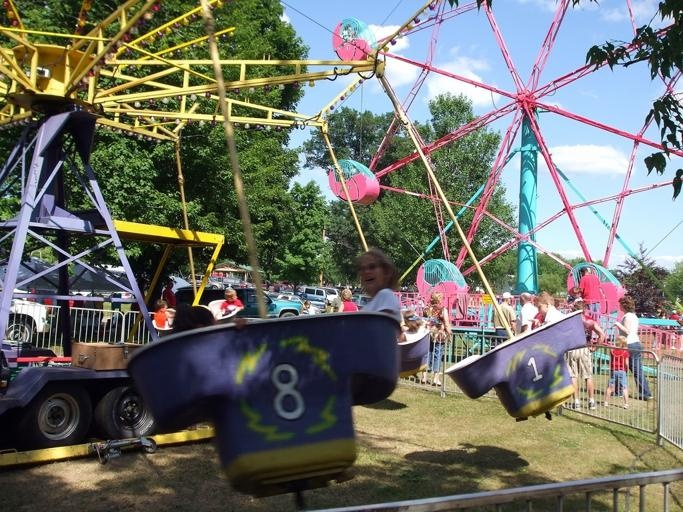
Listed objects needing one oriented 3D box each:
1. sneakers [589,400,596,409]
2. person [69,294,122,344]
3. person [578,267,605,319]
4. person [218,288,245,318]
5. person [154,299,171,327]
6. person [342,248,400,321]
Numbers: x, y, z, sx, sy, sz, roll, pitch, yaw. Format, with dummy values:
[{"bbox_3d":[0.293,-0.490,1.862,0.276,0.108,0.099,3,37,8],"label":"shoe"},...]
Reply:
[{"bbox_3d":[4.801,2.826,10.943,0.124,0.178,0.268,2,0,21],"label":"sneakers"},{"bbox_3d":[-5.133,1.361,11.995,1.440,0.816,1.346,2,-4,-22],"label":"person"},{"bbox_3d":[7.695,1.350,17.570,0.378,1.684,0.661,-16,13,-32],"label":"person"},{"bbox_3d":[-2.166,0.919,11.314,0.399,0.568,1.337,2,0,-12],"label":"person"},{"bbox_3d":[-3.747,1.210,11.987,0.261,0.578,1.196,3,0,-19],"label":"person"},{"bbox_3d":[0.336,0.297,5.162,0.375,0.686,0.517,11,-17,-29],"label":"person"}]
